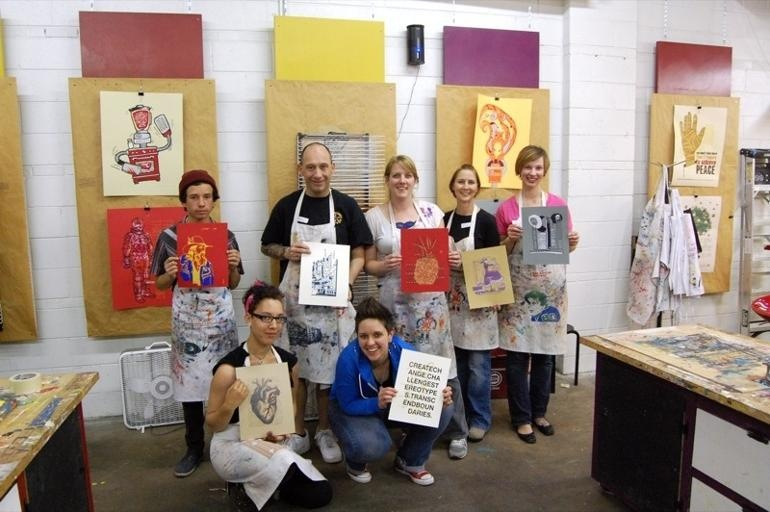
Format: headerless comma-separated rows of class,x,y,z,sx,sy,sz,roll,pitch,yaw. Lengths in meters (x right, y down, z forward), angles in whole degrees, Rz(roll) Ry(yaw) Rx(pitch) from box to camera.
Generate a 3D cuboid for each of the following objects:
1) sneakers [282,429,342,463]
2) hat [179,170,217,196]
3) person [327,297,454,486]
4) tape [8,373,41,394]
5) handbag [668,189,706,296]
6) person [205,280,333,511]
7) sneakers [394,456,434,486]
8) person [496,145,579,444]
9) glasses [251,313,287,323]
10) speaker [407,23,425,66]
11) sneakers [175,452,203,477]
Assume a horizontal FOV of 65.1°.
sneakers,-0.557,1.368,4.390,0.490,0.190,0.173,2,5,29
hat,-1.317,-0.518,4.173,0.177,0.099,0.223,-3,-7,-25
person,0.022,0.914,4.050,0.782,1.284,0.407,-2,8,-6
tape,-2.064,0.726,3.454,0.129,0.077,0.127,-10,19,-43
handbag,2.662,-0.103,5.382,0.404,0.951,0.250,-6,9,-33
person,-0.779,0.908,3.863,0.686,1.427,0.504,-5,8,-28
sneakers,0.204,1.468,4.206,0.299,0.115,0.119,9,13,40
person,1.141,0.280,4.576,0.583,2.192,0.436,-1,8,6
glasses,-0.743,0.392,3.842,0.184,0.064,0.045,-2,7,-10
speaker,0.265,-1.761,5.084,0.164,0.324,0.128,-2,7,-3
sneakers,-1.383,1.468,4.259,0.086,0.090,0.217,4,-1,10
